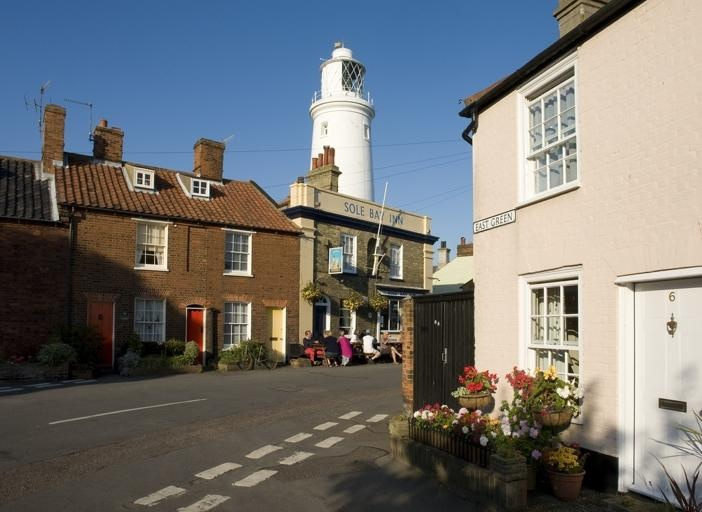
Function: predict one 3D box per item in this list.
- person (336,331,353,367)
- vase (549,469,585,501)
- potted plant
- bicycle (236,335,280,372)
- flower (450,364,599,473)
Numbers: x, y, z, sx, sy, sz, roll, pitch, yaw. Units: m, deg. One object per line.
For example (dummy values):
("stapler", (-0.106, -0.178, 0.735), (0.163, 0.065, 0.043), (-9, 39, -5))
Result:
("person", (-0.247, 4.000, 27.172), (0.593, 1.150, 1.194), (0, 0, -1))
("vase", (3.251, 3.422, 9.682), (0.415, 0.338, 0.436), (-4, -8, 23))
("potted plant", (-9.427, 3.267, 21.670), (2.149, 1.652, 0.961), (0, 0, -40))
("bicycle", (-3.649, 3.824, 24.991), (0.791, 1.005, 1.610), (-15, -21, 39))
("flower", (2.877, 2.545, 10.519), (1.520, 1.170, 1.522), (-1, -3, 33))
